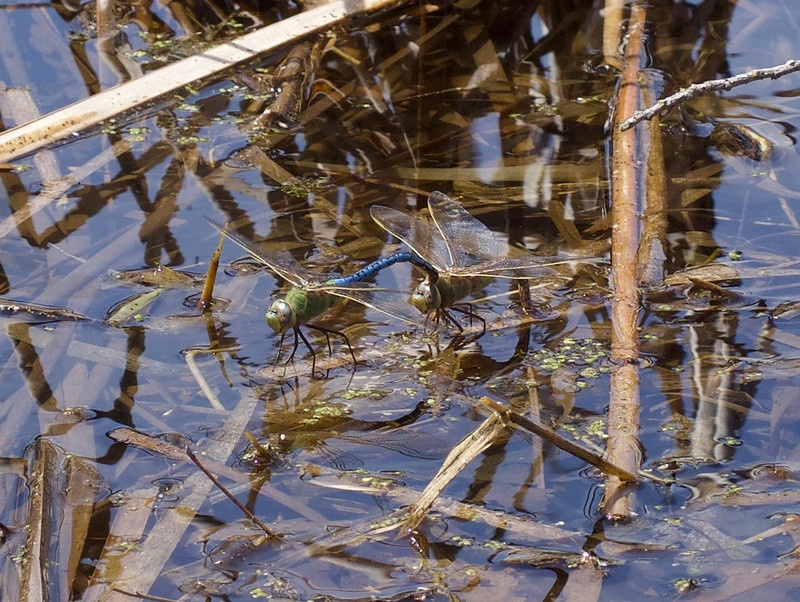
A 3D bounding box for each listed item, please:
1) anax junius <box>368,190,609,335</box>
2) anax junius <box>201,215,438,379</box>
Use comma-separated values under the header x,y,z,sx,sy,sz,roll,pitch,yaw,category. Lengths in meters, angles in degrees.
x,y,z,sx,sy,sz,roll,pitch,yaw,category
0.277,-0.063,4.238,0.650,0.221,0.733,-10,-7,-35,anax junius
-0.261,-0.054,4.072,0.743,0.577,0.656,-13,29,-6,anax junius
